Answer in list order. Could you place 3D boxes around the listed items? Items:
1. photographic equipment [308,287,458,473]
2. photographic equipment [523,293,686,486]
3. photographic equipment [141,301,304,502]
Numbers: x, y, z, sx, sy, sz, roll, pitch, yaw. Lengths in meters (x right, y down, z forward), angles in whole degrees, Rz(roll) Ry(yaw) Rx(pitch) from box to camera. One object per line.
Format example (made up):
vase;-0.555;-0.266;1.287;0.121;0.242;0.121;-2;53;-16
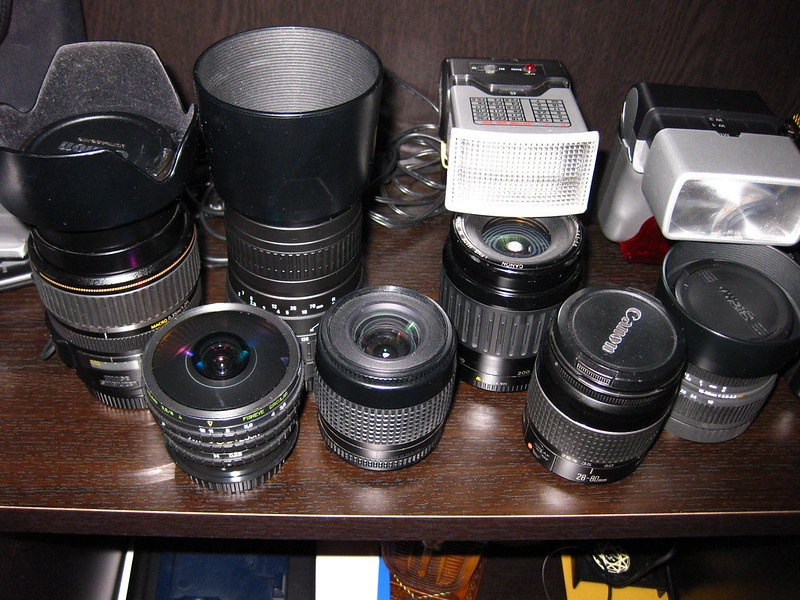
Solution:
photographic equipment;-0.014;0.087;0.912;0.190;0.203;0.201;1;51;-3
photographic equipment;0.246;0.100;0.872;0.171;0.193;0.183;25;47;21
photographic equipment;-0.212;0.119;0.861;0.175;0.158;0.179;33;49;21
